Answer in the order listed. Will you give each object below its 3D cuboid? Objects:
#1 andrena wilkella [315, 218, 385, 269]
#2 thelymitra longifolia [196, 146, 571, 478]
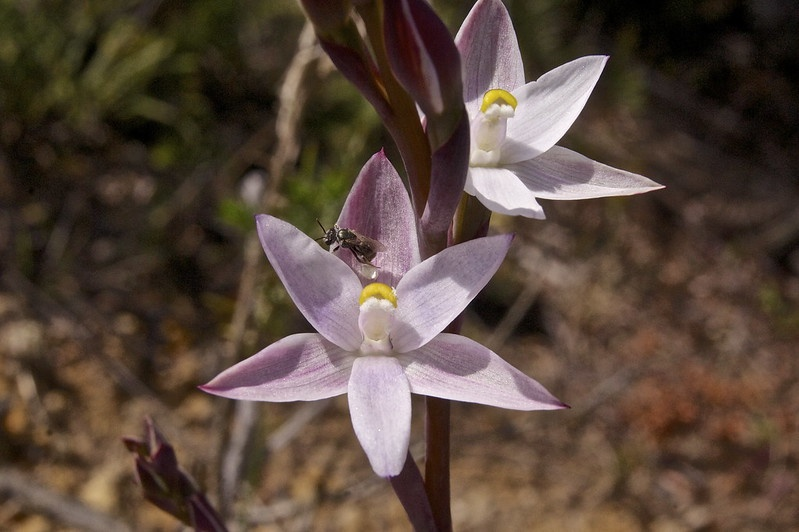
[{"bbox_3d":[-0.181,-0.083,3.519,0.272,0.212,0.113,15,80,-15],"label":"andrena wilkella"},{"bbox_3d":[-0.047,0.250,3.577,1.102,0.340,1.246,34,83,10],"label":"thelymitra longifolia"}]
